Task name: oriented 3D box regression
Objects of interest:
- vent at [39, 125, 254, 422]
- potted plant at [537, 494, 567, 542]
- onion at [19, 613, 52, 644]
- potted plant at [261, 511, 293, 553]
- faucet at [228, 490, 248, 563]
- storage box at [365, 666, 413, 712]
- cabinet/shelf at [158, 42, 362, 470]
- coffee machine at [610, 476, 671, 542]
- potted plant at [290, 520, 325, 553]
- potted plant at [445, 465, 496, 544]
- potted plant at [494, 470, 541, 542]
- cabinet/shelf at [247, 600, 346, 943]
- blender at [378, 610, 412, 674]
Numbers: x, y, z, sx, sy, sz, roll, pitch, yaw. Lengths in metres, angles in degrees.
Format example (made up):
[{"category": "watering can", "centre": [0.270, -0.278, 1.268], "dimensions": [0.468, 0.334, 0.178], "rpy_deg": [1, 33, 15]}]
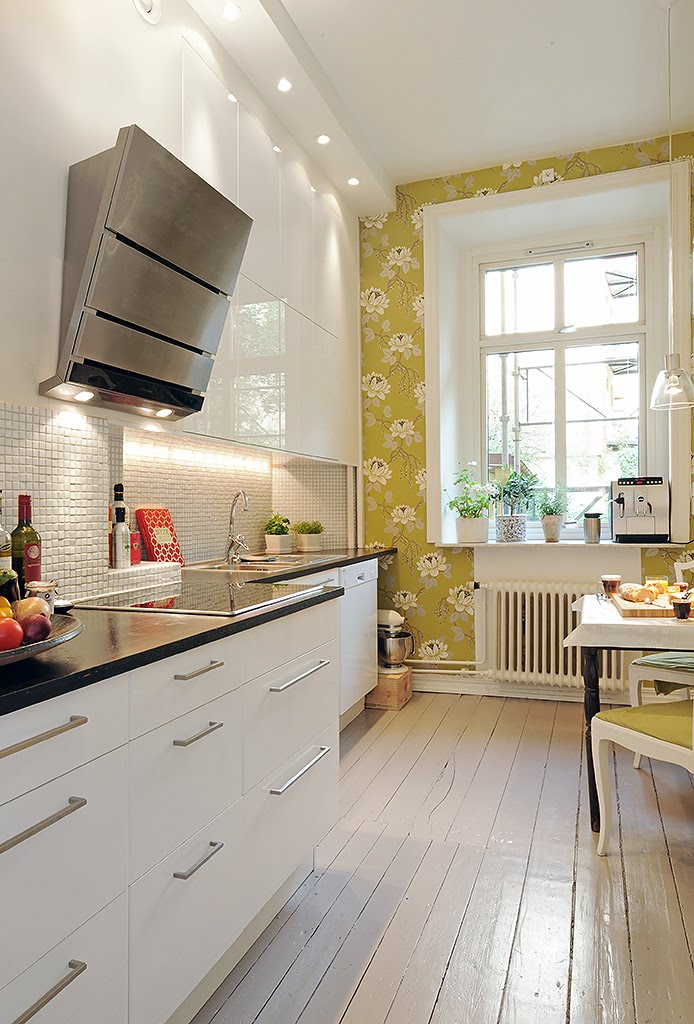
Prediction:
[{"category": "vent", "centre": [-0.536, -0.595, 1.820], "dimensions": [0.254, 0.678, 0.507], "rpy_deg": [6, 5, 24]}, {"category": "potted plant", "centre": [1.191, 0.035, 4.002], "dimensions": [0.237, 0.273, 0.133], "rpy_deg": [1, -2, -42]}, {"category": "onion", "centre": [-0.446, 0.169, 0.999], "dimensions": [0.034, 0.037, 0.034], "rpy_deg": [-5, -8, 8]}, {"category": "potted plant", "centre": [-0.364, 0.109, 3.779], "dimensions": [0.163, 0.271, 0.193], "rpy_deg": [2, 1, 20]}, {"category": "faucet", "centre": [-0.535, 0.066, 3.385], "dimensions": [0.100, 0.358, 0.590], "rpy_deg": [0, -1, -9]}, {"category": "storage box", "centre": [0.222, 0.902, 3.788], "dimensions": [0.168, 0.164, 0.313], "rpy_deg": [-1, -2, 17]}, {"category": "cabinet/shelf", "centre": [-0.293, -0.993, 3.114], "dimensions": [0.426, 1.515, 1.562], "rpy_deg": [0, 0, 19]}, {"category": "coffee machine", "centre": [1.520, -0.016, 3.603], "dimensions": [0.277, 0.332, 0.150], "rpy_deg": [4, 3, 13]}, {"category": "potted plant", "centre": [-0.216, 0.133, 3.950], "dimensions": [0.139, 0.202, 0.189], "rpy_deg": [0, 1, 31]}, {"category": "potted plant", "centre": [0.744, -0.051, 4.149], "dimensions": [0.264, 0.484, 0.461], "rpy_deg": [-1, -1, 17]}, {"category": "potted plant", "centre": [1.009, -0.059, 4.129], "dimensions": [0.250, 0.467, 0.343], "rpy_deg": [-1, -1, 13]}, {"category": "cabinet/shelf", "centre": [-0.032, 0.570, 1.678], "dimensions": [0.231, 0.596, 0.355], "rpy_deg": [3, 1, 8]}, {"category": "blender", "centre": [0.273, 0.730, 3.951], "dimensions": [0.188, 0.334, 0.374], "rpy_deg": [-1, -1, 6]}]
